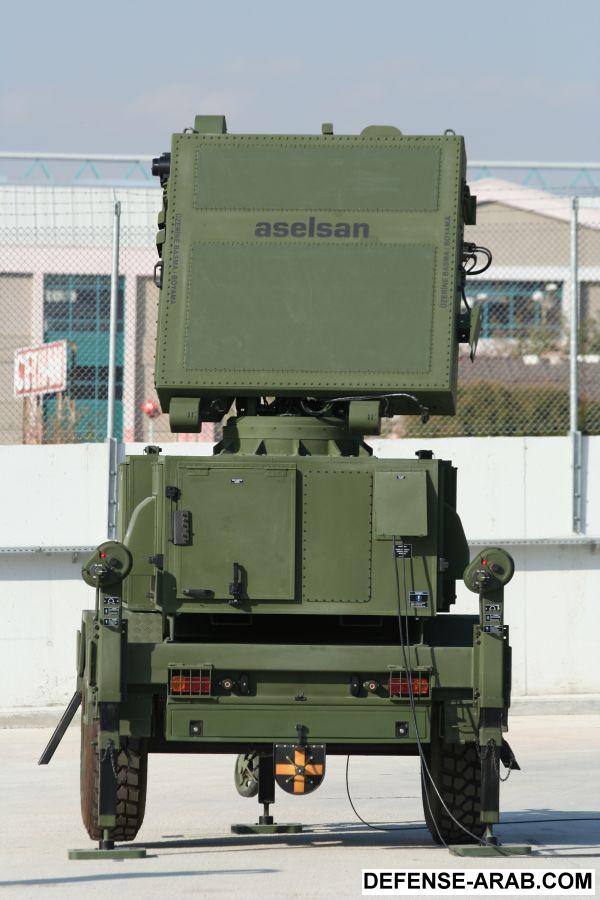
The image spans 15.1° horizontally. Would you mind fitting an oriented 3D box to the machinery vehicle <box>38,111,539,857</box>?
[{"bbox_3d":[-0.001,0.327,15.020,2.662,5.067,4.465,3,-8,-6],"label":"machinery vehicle"}]
